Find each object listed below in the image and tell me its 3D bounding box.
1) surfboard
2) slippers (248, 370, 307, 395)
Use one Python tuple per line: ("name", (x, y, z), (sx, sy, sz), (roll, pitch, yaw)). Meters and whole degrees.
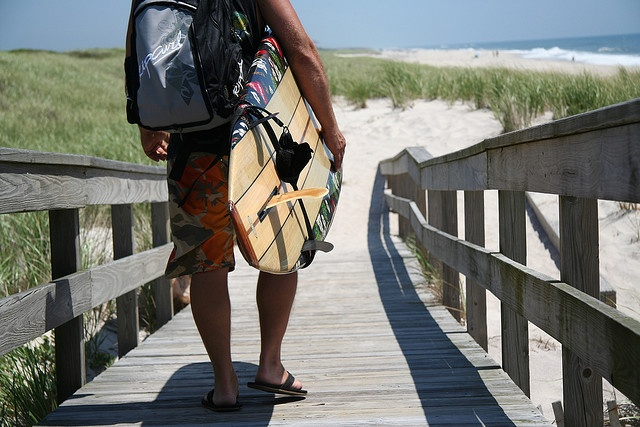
("surfboard", (-0.248, -0.138, 4.626), (0.640, 0.350, 2.254), (-17, -27, -2))
("slippers", (-0.273, 1.040, 4.621), (0.351, 0.155, 0.156), (13, -9, -4))
